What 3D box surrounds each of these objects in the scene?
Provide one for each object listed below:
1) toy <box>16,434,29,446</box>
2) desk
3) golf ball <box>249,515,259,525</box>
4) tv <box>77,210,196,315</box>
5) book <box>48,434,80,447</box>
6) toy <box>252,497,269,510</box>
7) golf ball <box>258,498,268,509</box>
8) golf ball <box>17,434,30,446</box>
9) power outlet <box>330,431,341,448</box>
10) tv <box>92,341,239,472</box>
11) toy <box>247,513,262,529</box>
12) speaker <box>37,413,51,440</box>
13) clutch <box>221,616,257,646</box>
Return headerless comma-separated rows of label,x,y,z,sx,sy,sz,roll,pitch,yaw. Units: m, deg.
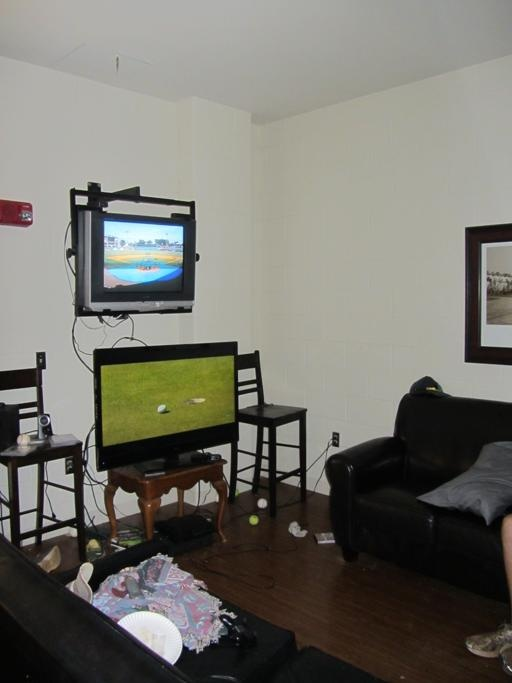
toy,-1.120,0.476,2.821,0.052,0.049,0.052,5,2,-13
desk,-0.496,0.742,3.327,0.509,0.465,0.589,-5,8,-27
golf ball,-0.010,1.099,3.589,0.047,0.026,0.047,0,28,0
tv,-0.630,-0.409,3.024,0.278,0.426,0.525,14,16,42
book,-0.971,0.502,2.955,0.097,0.025,0.087,-1,13,-26
toy,0.023,1.081,3.901,0.057,0.067,0.075,10,25,22
golf ball,0.053,1.081,3.880,0.049,0.060,0.065,16,48,19
golf ball,-1.112,0.476,2.838,0.052,0.047,0.055,-4,6,0
power outlet,0.551,0.690,4.082,0.023,0.088,0.093,3,1,-35
tv,-0.533,0.371,3.327,0.821,0.581,0.085,-4,4,-43
toy,-0.005,1.108,3.607,0.055,0.039,0.054,-9,24,-24
speaker,-1.066,0.433,2.958,0.064,0.115,0.095,-2,4,-21
clutch,-0.060,0.855,1.730,0.047,0.035,0.077,7,-6,-34
